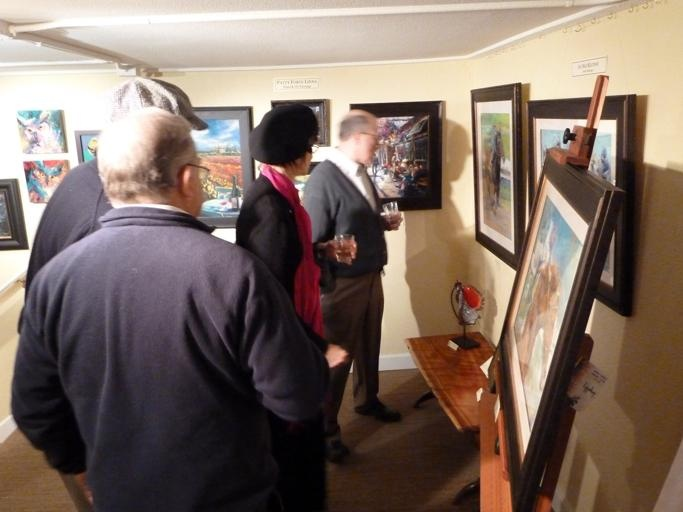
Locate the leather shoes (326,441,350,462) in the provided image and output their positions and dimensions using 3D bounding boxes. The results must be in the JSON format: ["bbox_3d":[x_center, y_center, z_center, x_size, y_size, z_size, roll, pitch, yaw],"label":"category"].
[{"bbox_3d":[-0.026,1.171,3.149,0.078,0.073,0.161,-1,1,-24],"label":"leather shoes"}]

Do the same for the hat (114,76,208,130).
[{"bbox_3d":[-0.686,-0.588,1.983,0.280,0.150,0.207,-12,28,-33],"label":"hat"}]

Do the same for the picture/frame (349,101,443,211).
[{"bbox_3d":[0.380,-0.721,3.621,0.812,0.956,0.066,0,8,1],"label":"picture/frame"}]

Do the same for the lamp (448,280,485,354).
[{"bbox_3d":[0.855,0.406,3.556,0.220,0.475,0.328,-4,13,-2],"label":"lamp"}]

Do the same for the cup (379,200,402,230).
[{"bbox_3d":[0.296,-0.231,3.130,0.105,0.206,0.208,0,16,4],"label":"cup"}]

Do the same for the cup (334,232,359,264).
[{"bbox_3d":[0.021,-0.041,2.804,0.126,0.213,0.140,2,14,9],"label":"cup"}]

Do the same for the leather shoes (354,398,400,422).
[{"bbox_3d":[0.247,1.040,3.581,0.291,0.129,0.127,2,13,24],"label":"leather shoes"}]
